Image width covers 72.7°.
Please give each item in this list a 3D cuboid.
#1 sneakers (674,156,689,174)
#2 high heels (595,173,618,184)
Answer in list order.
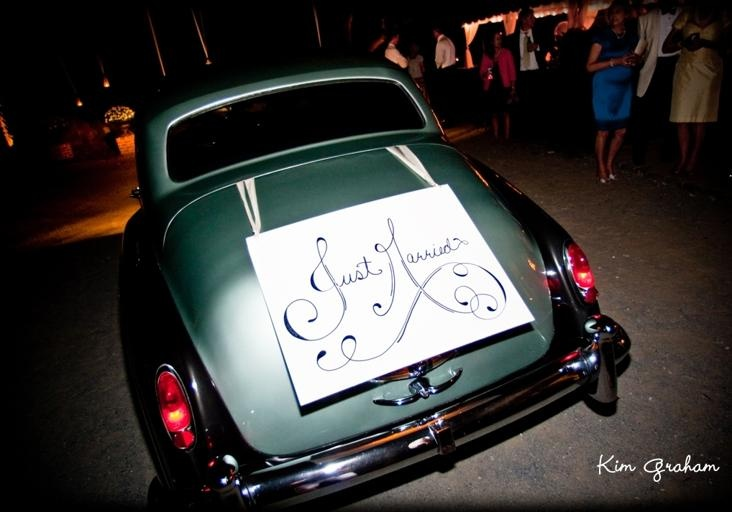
[{"bbox_3d":[4.055,-1.159,6.391,0.169,0.254,0.062,-7,10,-20],"label":"sneakers"},{"bbox_3d":[3.130,-0.984,6.408,0.117,0.089,0.216,-13,12,6],"label":"high heels"}]
